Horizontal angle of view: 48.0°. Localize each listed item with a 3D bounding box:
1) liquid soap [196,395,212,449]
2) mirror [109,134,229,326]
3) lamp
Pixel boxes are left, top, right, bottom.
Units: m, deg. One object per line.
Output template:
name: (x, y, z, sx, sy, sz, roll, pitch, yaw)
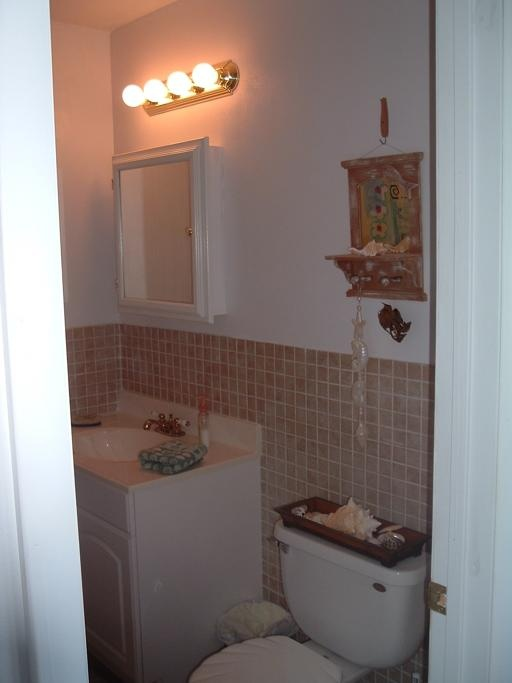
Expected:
liquid soap: (-0.197, 0.311, 2.159, 0.048, 0.149, 0.106, -5, 9, -6)
mirror: (-0.364, -0.421, 2.256, 0.519, 0.632, 0.097, 6, 10, 37)
lamp: (-0.298, -0.929, 2.077, 0.174, 0.156, 0.556, -12, 12, -40)
